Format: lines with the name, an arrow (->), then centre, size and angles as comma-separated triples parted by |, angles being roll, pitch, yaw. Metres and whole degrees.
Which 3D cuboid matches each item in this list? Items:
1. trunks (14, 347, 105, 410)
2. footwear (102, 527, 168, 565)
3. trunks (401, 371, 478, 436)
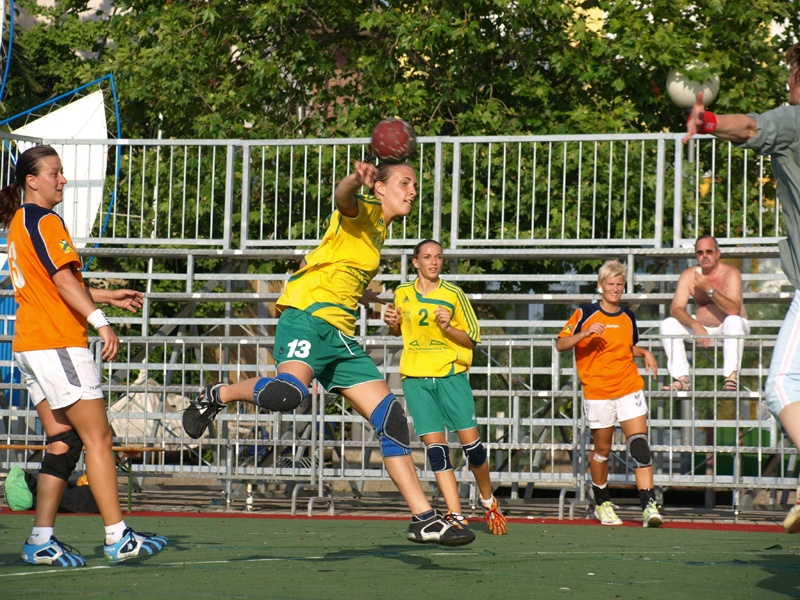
trunks -> -3.174, 0.731, 15.279 | 0.845, 0.543, 0.499 | -6, 14, 36
footwear -> -2.443, 2.288, 15.015 | 0.559, 0.245, 0.305 | -4, 2, -11
trunks -> 0.450, 1.103, 17.144 | 0.809, 0.672, 0.444 | -6, -8, 18
